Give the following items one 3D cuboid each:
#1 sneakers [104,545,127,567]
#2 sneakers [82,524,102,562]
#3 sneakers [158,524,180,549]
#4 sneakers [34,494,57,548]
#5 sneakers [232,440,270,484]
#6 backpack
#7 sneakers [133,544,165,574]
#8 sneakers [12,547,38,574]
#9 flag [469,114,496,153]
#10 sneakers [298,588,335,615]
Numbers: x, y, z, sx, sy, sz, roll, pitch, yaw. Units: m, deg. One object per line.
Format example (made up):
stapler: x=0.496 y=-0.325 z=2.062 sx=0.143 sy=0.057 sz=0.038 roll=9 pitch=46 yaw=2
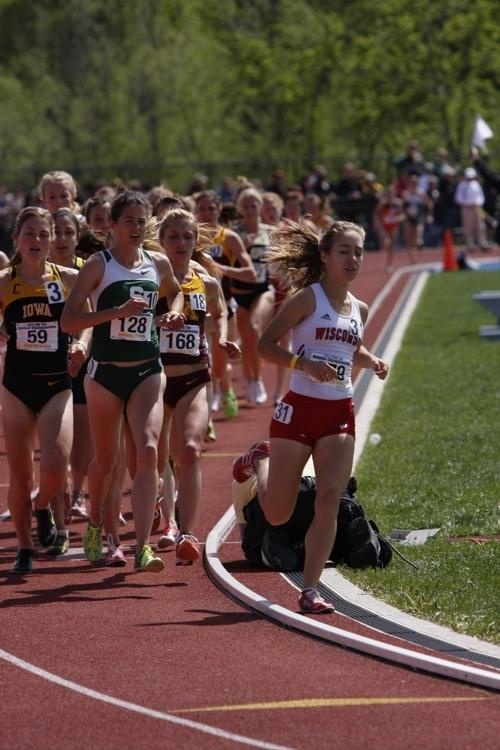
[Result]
sneakers: x=-0.751 y=1.040 z=4.414 sx=0.078 sy=0.080 sz=0.186 roll=3 pitch=-11 yaw=-14
sneakers: x=-0.898 y=0.966 z=4.477 sx=0.108 sy=0.271 sz=0.122 roll=-4 pitch=-2 yaw=-18
sneakers: x=-0.457 y=0.924 z=4.398 sx=0.077 sy=0.087 sz=0.211 roll=3 pitch=-22 yaw=-5
sneakers: x=-1.264 y=0.925 z=4.820 sx=0.117 sy=0.313 sz=0.130 roll=-8 pitch=13 yaw=5
sneakers: x=-0.014 y=0.485 z=4.315 sx=0.145 sy=0.114 sz=0.353 roll=-14 pitch=-19 yaw=-33
backpack: x=0.408 y=0.863 z=4.563 sx=0.637 sy=0.556 sz=0.282 roll=1 pitch=-12 yaw=10
sneakers: x=-0.495 y=0.919 z=3.867 sx=0.085 sy=0.147 sz=0.223 roll=9 pitch=-22 yaw=-35
sneakers: x=-1.272 y=1.056 z=4.403 sx=0.100 sy=0.143 sz=0.214 roll=-8 pitch=9 yaw=-9
flag: x=1.413 y=-1.495 z=4.828 sx=0.122 sy=0.238 sz=0.305 roll=-3 pitch=9 yaw=16
sneakers: x=0.284 y=1.038 z=3.579 sx=0.083 sy=0.078 sz=0.185 roll=1 pitch=-7 yaw=-41
